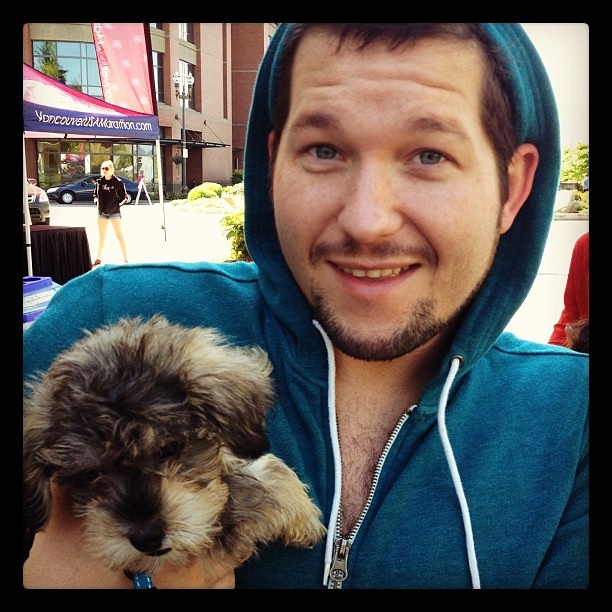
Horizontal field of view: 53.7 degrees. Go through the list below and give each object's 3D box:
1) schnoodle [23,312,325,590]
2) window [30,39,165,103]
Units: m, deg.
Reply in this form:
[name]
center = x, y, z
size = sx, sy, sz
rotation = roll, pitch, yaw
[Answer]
[schnoodle]
center = -0.660, 0.564, 2.420
size = 0.940, 0.966, 1.095
rotation = -21, 19, -38
[window]
center = -0.851, -0.966, 2.472
size = 0.386, 0.239, 0.003
rotation = 2, 5, -7
